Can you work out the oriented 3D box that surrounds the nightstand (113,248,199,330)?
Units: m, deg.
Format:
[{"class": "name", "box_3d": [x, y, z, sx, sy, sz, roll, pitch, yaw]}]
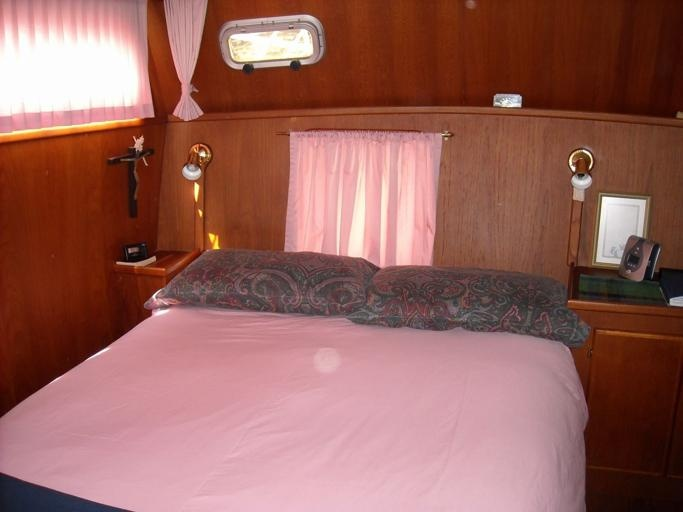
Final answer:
[{"class": "nightstand", "box_3d": [-1.229, 0.115, 3.477, 0.374, 0.670, 0.667, 1, 14, 8]}]

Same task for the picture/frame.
[{"class": "picture/frame", "box_3d": [1.698, -0.167, 2.948, 0.377, 0.641, 0.047, 5, 5, 7]}]

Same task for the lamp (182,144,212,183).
[{"class": "lamp", "box_3d": [-0.981, -0.634, 3.338, 0.172, 0.304, 0.132, 15, -38, -11]}]

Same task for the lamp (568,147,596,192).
[{"class": "lamp", "box_3d": [1.429, -0.490, 2.905, 0.154, 0.301, 0.099, 2, 6, 17]}]
